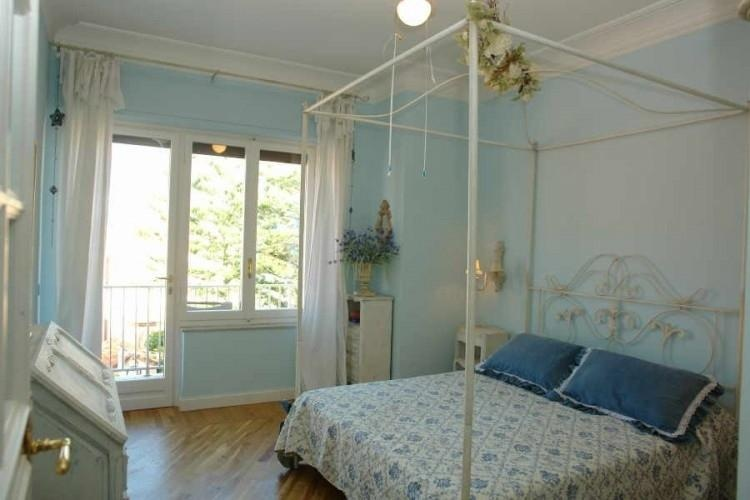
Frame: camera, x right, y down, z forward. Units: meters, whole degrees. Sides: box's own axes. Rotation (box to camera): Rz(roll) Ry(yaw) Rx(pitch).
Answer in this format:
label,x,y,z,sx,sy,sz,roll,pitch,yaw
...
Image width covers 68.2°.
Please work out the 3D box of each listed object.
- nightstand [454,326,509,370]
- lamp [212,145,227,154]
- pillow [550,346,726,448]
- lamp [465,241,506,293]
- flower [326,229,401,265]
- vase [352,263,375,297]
label,x,y,z,sx,sy,sz,roll,pitch,yaw
nightstand,1.028,1.081,5.493,0.400,0.589,0.445,9,-5,-33
lamp,-1.560,-1.012,5.540,0.102,0.065,0.101,-2,-11,2
pillow,1.925,0.996,4.172,0.815,0.252,1.062,-24,19,-33
lamp,1.160,0.160,5.556,0.299,0.516,0.277,3,10,10
flower,-0.132,-0.053,5.838,0.447,0.348,0.635,-15,11,10
vase,-0.137,0.314,5.787,0.260,0.314,0.271,-12,-10,41
